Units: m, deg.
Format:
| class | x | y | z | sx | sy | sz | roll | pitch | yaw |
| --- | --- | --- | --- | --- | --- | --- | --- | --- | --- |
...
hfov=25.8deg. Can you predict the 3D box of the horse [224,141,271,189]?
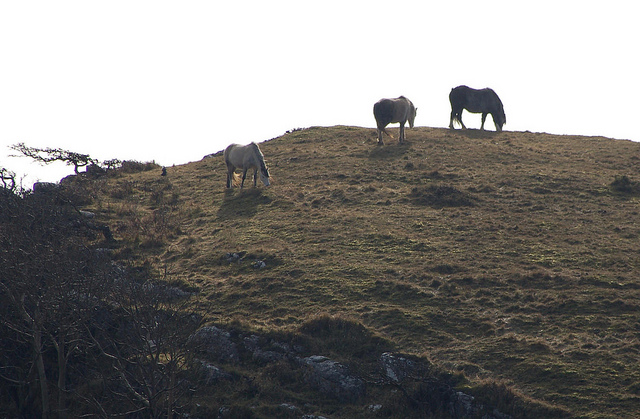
| class | x | y | z | sx | sy | sz | roll | pitch | yaw |
| --- | --- | --- | --- | --- | --- | --- | --- | --- | --- |
| horse | -5.066 | -2.923 | 94.974 | 1.670 | 3.192 | 5.497 | -4 | 9 | -35 |
